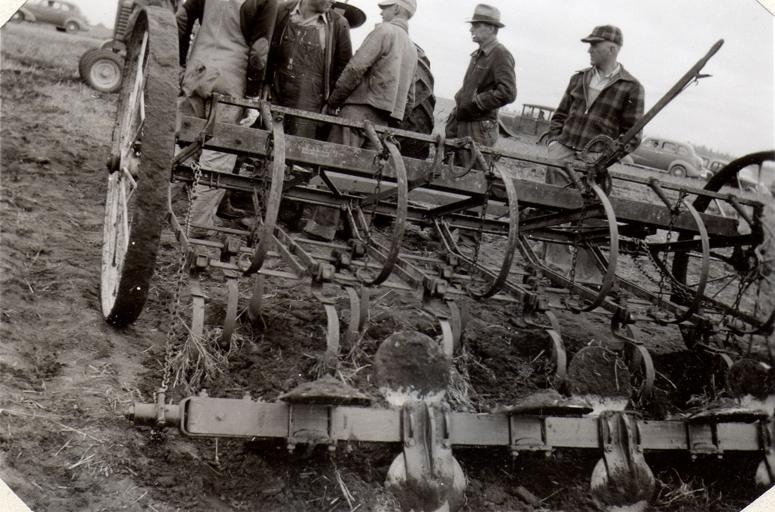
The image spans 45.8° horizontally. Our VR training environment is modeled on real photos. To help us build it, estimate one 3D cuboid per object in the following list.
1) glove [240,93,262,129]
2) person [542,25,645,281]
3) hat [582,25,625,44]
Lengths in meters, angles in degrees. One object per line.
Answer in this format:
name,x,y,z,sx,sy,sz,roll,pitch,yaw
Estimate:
glove,-1.539,-1.616,10.323,0.193,0.391,0.676,11,13,-10
person,2.367,-1.210,10.838,0.834,2.912,1.286,11,11,-8
hat,2.485,-2.519,10.548,0.448,0.258,0.226,12,12,-12
